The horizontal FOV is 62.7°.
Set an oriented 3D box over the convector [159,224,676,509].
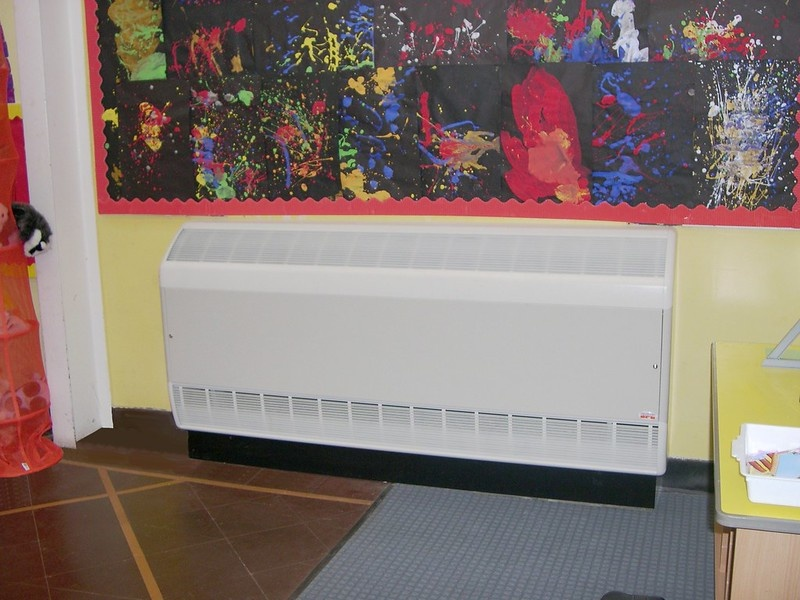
[{"bbox_3d":[0.068,0.225,2.857,2.086,1.077,0.606,2,13,17],"label":"convector"}]
